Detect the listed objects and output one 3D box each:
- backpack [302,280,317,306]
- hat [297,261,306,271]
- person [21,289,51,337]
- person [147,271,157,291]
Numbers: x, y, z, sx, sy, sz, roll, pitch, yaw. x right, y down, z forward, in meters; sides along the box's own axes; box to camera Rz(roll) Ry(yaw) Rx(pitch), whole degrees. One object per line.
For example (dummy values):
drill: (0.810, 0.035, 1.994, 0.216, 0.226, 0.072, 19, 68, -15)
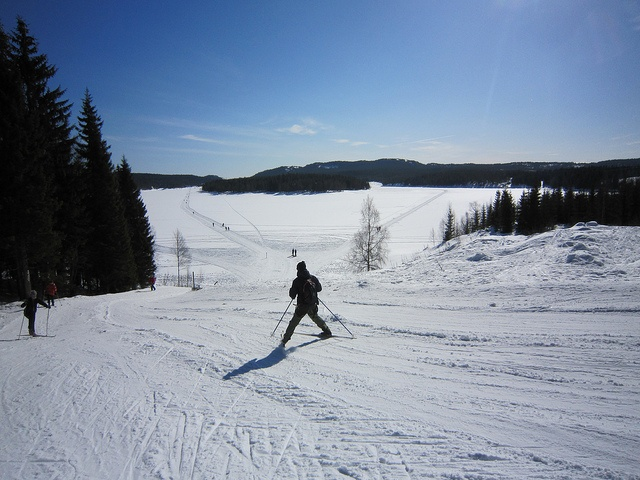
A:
backpack: (-0.338, 1.853, 16.787, 0.549, 0.915, 0.238, -5, 4, -41)
hat: (-0.660, 0.935, 17.095, 0.252, 0.381, 0.336, 8, -9, -7)
person: (-12.860, 3.336, 21.325, 0.770, 2.488, 1.389, 0, 6, 12)
person: (-14.404, 3.506, 40.354, 0.793, 1.079, 2.568, 8, -11, -12)
